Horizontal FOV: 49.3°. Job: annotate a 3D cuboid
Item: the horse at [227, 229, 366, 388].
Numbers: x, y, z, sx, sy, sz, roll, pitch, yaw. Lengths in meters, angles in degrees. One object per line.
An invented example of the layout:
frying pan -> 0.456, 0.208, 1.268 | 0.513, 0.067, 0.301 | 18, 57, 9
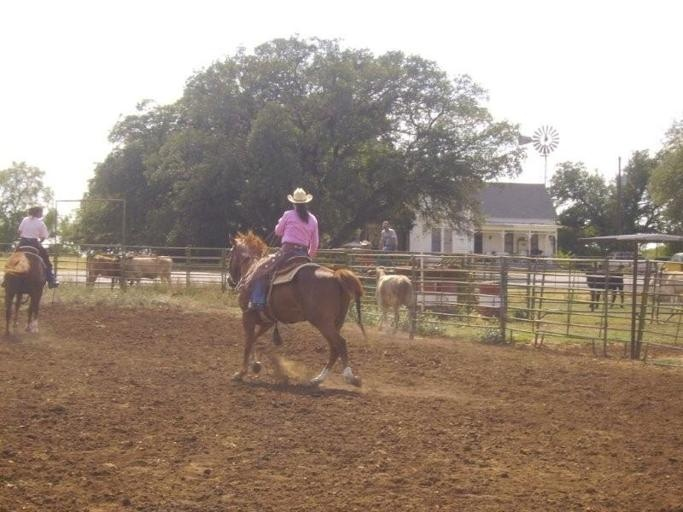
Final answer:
horse -> -0.985, 0.904, 12.617 | 3.132, 2.636, 1.000 | 1, -1, 41

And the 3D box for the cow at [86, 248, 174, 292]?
cow -> -7.020, 0.387, 24.179 | 1.872, 0.893, 1.456 | 1, -3, -10

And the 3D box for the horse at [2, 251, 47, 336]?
horse -> -6.367, 0.713, 14.899 | 0.850, 1.816, 1.718 | -7, 16, -25

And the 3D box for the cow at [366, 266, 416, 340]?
cow -> 1.226, 1.074, 16.948 | 0.818, 1.491, 2.812 | -1, 15, -5
